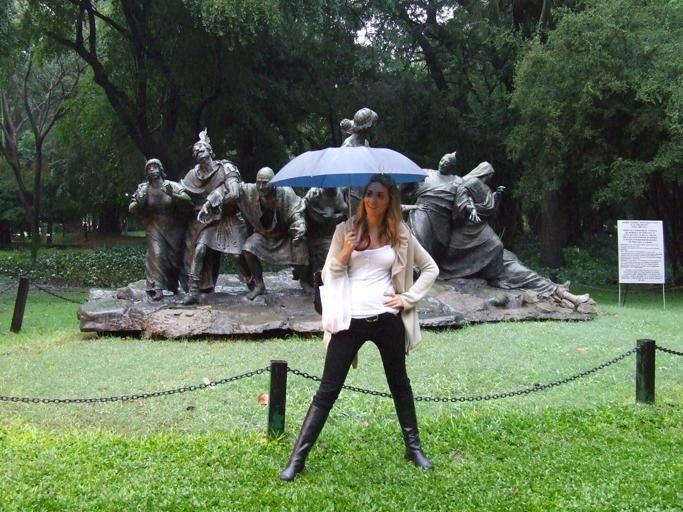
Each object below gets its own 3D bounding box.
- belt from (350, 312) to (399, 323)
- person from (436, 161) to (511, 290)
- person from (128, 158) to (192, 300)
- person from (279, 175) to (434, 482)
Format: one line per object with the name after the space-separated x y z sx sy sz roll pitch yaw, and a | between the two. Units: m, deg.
0.277 0.495 4.883 0.397 0.094 0.048 -1 9 -9 | belt
2.475 -0.612 11.336 1.177 2.173 0.852 1 9 7 | person
-2.824 -0.421 9.573 0.898 2.159 0.665 -3 10 -22 | person
0.213 0.551 5.037 1.188 2.399 0.518 -1 9 -6 | person
